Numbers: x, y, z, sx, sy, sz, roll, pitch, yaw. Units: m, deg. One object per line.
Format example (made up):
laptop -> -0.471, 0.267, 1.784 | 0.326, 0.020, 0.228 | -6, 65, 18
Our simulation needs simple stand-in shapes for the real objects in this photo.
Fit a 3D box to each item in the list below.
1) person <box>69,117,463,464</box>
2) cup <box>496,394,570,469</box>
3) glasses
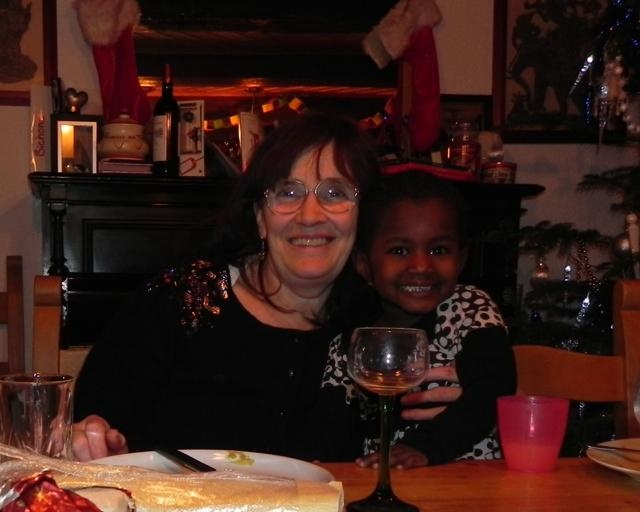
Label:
person -> -0.146, 0.071, 1.566 | 0.721, 0.805, 0.445 | 19, 1, -13
cup -> 0.329, 0.273, 1.081 | 0.118, 0.100, 0.106 | 3, -8, 1
glasses -> -0.019, -0.124, 1.408 | 0.190, 0.075, 0.031 | 1, -1, -1
